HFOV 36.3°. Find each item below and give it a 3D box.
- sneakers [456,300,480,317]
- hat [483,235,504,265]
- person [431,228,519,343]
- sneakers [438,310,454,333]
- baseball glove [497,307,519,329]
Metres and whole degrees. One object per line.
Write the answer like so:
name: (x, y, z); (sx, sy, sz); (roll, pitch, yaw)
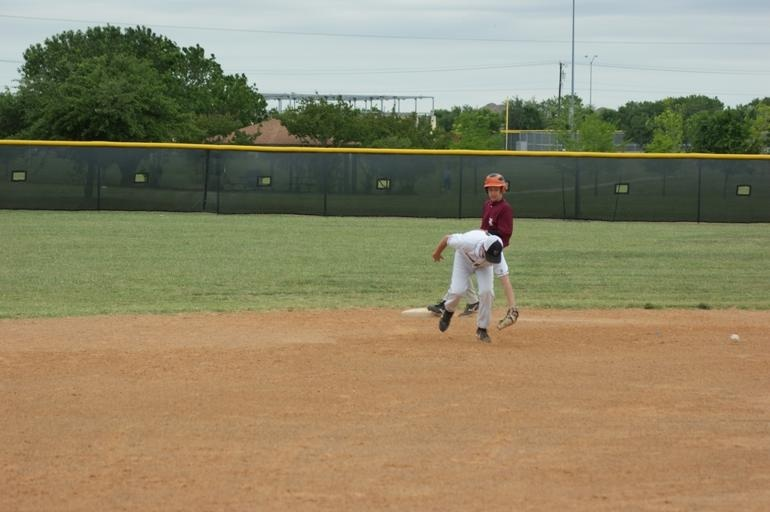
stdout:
sneakers: (1.501, 0.919, 20.642); (0.484, 0.188, 0.159); (-24, 14, -30)
hat: (1.761, -0.105, 19.285); (0.309, 0.432, 0.244); (1, -24, -8)
person: (1.521, 0.488, 19.584); (1.353, 1.839, 0.801); (2, 0, 4)
sneakers: (1.026, 1.078, 19.837); (0.171, 0.421, 0.188); (11, 10, -24)
baseball glove: (2.093, 1.073, 20.039); (0.144, 0.290, 0.419); (37, -46, -24)
